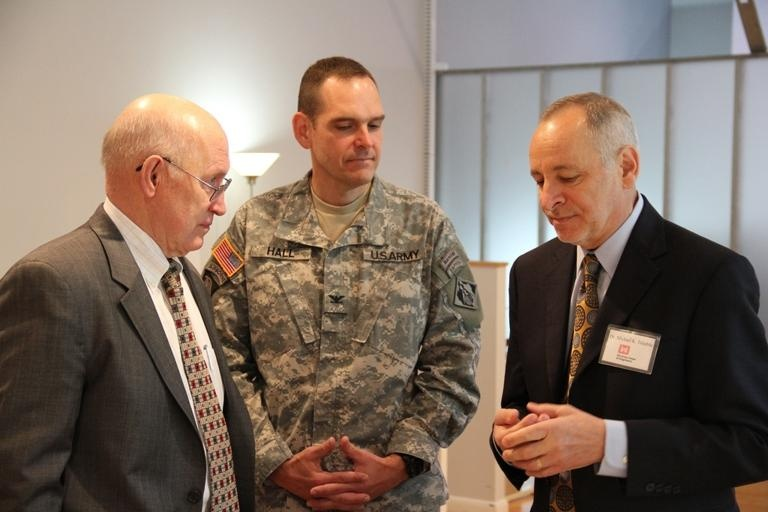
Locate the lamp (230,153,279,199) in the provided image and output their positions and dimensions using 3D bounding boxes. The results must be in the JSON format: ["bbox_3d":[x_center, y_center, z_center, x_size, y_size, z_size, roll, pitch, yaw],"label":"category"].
[{"bbox_3d":[-1.064,-0.664,5.739,0.362,0.434,0.376,0,-7,-3],"label":"lamp"}]

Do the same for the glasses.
[{"bbox_3d":[-0.684,-0.239,2.347,0.194,0.055,0.187,32,0,-1],"label":"glasses"}]
